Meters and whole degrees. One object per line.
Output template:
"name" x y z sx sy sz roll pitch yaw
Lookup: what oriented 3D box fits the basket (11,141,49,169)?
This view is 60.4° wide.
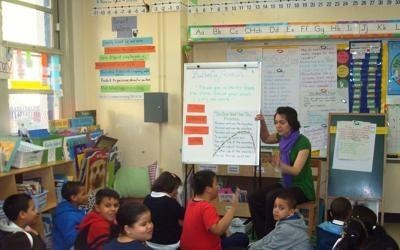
"basket" -2.264 0.406 4.415 0.344 0.290 0.454 16 0 16

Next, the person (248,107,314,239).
"person" 0.975 0.670 4.287 0.832 1.770 0.812 2 -2 -28

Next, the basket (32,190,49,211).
"basket" -2.055 0.972 4.495 0.166 0.198 0.281 1 4 9

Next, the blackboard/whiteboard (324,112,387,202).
"blackboard/whiteboard" 2.157 0.521 4.836 0.779 1.527 0.524 -2 -21 35

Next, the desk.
"desk" 0.452 1.160 4.747 0.629 0.392 0.639 0 8 11

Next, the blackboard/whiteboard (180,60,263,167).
"blackboard/whiteboard" 0.286 -0.147 4.467 1.361 1.769 0.128 0 -6 9
